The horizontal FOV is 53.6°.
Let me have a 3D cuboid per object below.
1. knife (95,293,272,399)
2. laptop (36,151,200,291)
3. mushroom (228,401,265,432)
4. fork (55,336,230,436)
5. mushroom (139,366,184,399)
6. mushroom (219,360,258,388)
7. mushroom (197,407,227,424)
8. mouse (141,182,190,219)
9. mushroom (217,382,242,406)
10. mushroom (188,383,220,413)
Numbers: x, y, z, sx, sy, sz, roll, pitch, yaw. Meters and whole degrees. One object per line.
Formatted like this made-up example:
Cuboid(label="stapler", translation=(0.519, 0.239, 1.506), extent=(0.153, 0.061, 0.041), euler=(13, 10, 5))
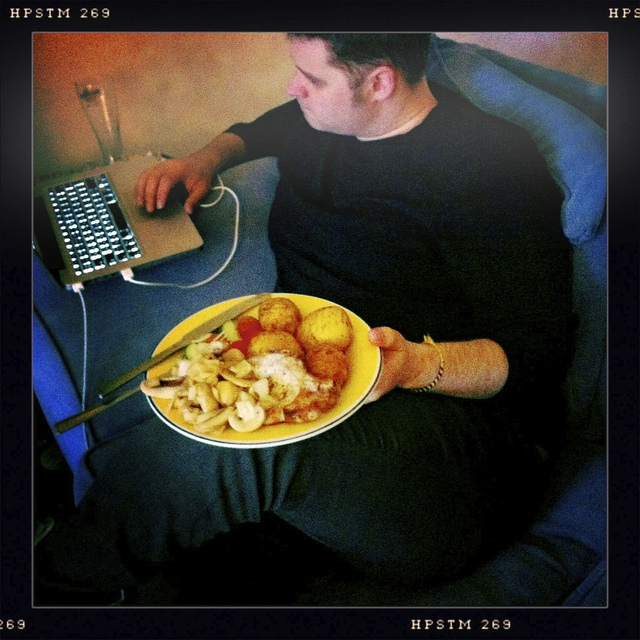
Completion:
Cuboid(label="knife", translation=(-0.305, 0.063, 1.370), extent=(0.406, 0.020, 0.057), euler=(-28, 32, 3))
Cuboid(label="laptop", translation=(-0.448, -0.228, 1.433), extent=(0.342, 0.050, 0.307), euler=(-19, 78, -10))
Cuboid(label="mushroom", translation=(-0.142, 0.192, 1.234), extent=(0.063, 0.046, 0.048), euler=(24, 54, 16))
Cuboid(label="fork", translation=(-0.381, 0.149, 1.357), extent=(0.415, 0.028, 0.047), euler=(-27, 57, 12))
Cuboid(label="mushroom", translation=(-0.320, 0.137, 1.307), extent=(0.084, 0.030, 0.069), euler=(-25, 56, -22))
Cuboid(label="mushroom", translation=(-0.162, 0.108, 1.271), extent=(0.059, 0.016, 0.057), euler=(13, 51, 4))
Cuboid(label="mushroom", translation=(-0.212, 0.184, 1.245), extent=(0.040, 0.009, 0.024), euler=(-29, 20, -19))
Cuboid(label="mouse", translation=(-0.348, -0.260, 1.450), extent=(0.092, 0.022, 0.082), euler=(13, 85, 9))
Cuboid(label="mushroom", translation=(-0.182, 0.147, 1.257), extent=(0.038, 0.027, 0.047), euler=(2, 83, -13))
Cuboid(label="mushroom", translation=(-0.230, 0.154, 1.254), extent=(0.051, 0.020, 0.059), euler=(-32, 71, -23))
